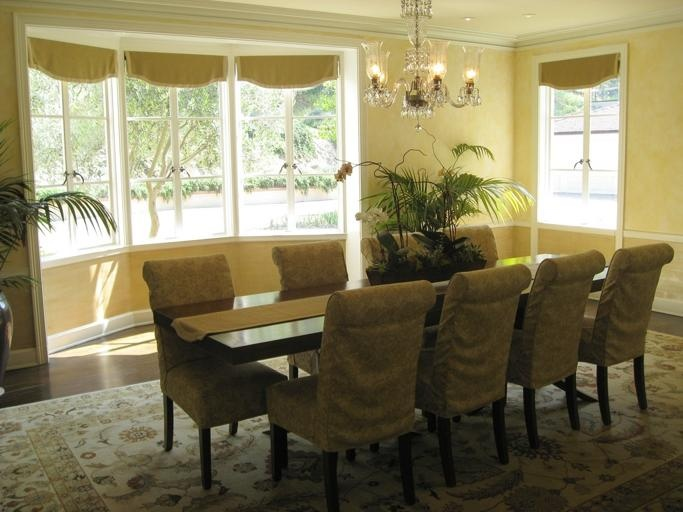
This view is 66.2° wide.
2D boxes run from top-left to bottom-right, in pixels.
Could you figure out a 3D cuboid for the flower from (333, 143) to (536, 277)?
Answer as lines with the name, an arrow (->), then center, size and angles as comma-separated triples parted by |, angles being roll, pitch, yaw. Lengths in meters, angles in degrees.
flower -> 0.823, -0.525, 5.139 | 1.730, 0.794, 1.303 | -4, 3, -40
